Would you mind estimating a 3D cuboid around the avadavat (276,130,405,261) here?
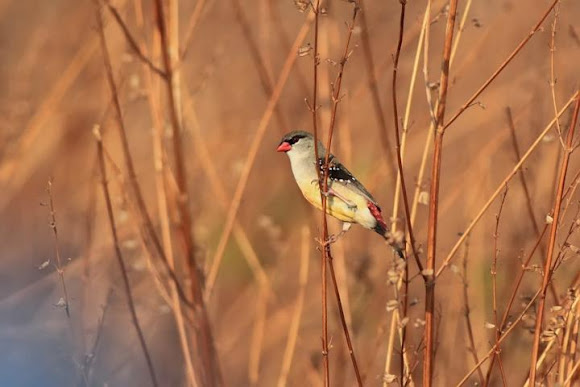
[{"bbox_3d":[0.300,-0.012,4.101,0.646,0.680,0.267,3,-5,-10],"label":"avadavat"}]
